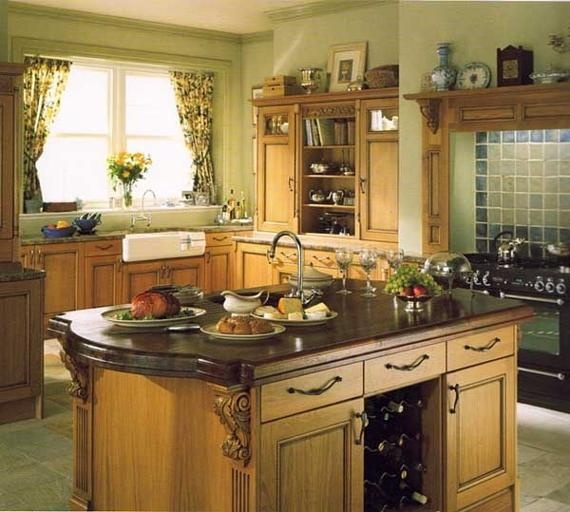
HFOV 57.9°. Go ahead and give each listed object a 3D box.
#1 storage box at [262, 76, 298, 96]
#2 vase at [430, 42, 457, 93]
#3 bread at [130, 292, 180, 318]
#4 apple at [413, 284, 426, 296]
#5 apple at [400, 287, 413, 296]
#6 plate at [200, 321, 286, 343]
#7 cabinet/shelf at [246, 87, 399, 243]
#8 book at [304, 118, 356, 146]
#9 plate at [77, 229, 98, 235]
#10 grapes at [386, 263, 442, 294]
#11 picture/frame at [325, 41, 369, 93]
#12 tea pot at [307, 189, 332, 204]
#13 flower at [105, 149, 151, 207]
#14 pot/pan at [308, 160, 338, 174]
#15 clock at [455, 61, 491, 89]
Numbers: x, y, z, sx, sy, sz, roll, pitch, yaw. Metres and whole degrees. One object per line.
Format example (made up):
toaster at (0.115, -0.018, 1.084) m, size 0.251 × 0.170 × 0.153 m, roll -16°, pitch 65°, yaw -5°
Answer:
storage box at (-0.049, -2.084, 6.426) m, size 0.414 × 0.242 × 0.332 m, roll 3°, pitch 8°, yaw 31°
vase at (1.440, -1.728, 4.758) m, size 0.210 × 0.460 × 0.307 m, roll -1°, pitch 8°, yaw -15°
bread at (-0.499, 0.187, 2.008) m, size 0.110 × 0.066 × 0.143 m, roll 2°, pitch 3°, yaw 40°
apple at (0.605, 0.160, 2.326) m, size 0.057 × 0.049 × 0.033 m, roll 2°, pitch 8°, yaw 12°
apple at (0.551, 0.166, 2.336) m, size 0.048 × 0.039 × 0.043 m, roll -3°, pitch 8°, yaw -13°
plate at (-0.156, 0.274, 1.877) m, size 0.305 × 0.053 × 0.233 m, roll 1°, pitch 7°, yaw 3°
cabinet/shelf at (0.691, -1.004, 6.034) m, size 0.678 × 1.579 × 2.469 m, roll -12°, pitch 16°, yaw -41°
book at (0.488, -1.425, 5.969) m, size 0.479 × 0.377 × 0.099 m, roll 3°, pitch 11°, yaw 6°
plate at (-2.356, -0.282, 6.157) m, size 0.204 × 0.057 × 0.196 m, roll -2°, pitch 7°, yaw -25°
grapes at (0.602, 0.103, 2.412) m, size 0.217 × 0.111 × 0.150 m, roll 4°, pitch 3°, yaw 21°
picture/frame at (0.719, -2.205, 5.986) m, size 0.187 × 0.547 × 0.558 m, roll -7°, pitch 11°, yaw -42°
tea pot at (0.422, -0.713, 6.236) m, size 0.269 × 0.144 × 0.188 m, roll 0°, pitch 4°, yaw 9°
flower at (-2.138, -1.061, 7.081) m, size 0.560 × 0.768 × 0.628 m, roll -2°, pitch 8°, yaw -17°
pot/pan at (0.429, -1.037, 6.171) m, size 0.279 × 0.109 × 0.211 m, roll -1°, pitch 0°, yaw -29°
clock at (1.668, -1.605, 4.593) m, size 0.319 × 0.233 × 0.069 m, roll 7°, pitch 10°, yaw 40°
